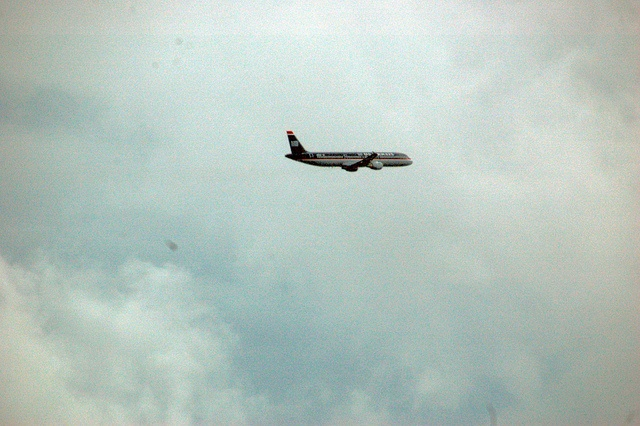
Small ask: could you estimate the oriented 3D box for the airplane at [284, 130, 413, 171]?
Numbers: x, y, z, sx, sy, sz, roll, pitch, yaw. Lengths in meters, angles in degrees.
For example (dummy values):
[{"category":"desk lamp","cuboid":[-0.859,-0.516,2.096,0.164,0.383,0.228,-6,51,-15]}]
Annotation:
[{"category":"airplane","cuboid":[2.370,-3.991,66.421,8.380,6.998,2.201,-1,-80,-13]}]
